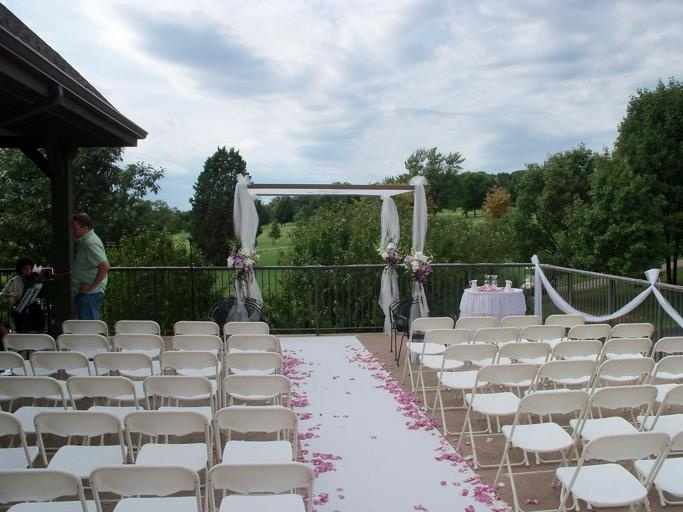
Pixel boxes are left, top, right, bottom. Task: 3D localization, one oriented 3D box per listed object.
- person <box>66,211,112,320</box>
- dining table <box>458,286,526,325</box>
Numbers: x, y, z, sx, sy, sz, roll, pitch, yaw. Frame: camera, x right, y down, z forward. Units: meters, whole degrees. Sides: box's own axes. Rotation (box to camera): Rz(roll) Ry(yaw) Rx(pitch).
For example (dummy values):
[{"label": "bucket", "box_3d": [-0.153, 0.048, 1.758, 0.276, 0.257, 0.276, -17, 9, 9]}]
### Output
[{"label": "person", "box_3d": [-3.763, 0.149, 9.243, 0.692, 1.569, 0.457, 3, 3, 41]}, {"label": "dining table", "box_3d": [2.563, 0.920, 10.175, 0.808, 0.570, 0.878, -6, -6, 3]}]
